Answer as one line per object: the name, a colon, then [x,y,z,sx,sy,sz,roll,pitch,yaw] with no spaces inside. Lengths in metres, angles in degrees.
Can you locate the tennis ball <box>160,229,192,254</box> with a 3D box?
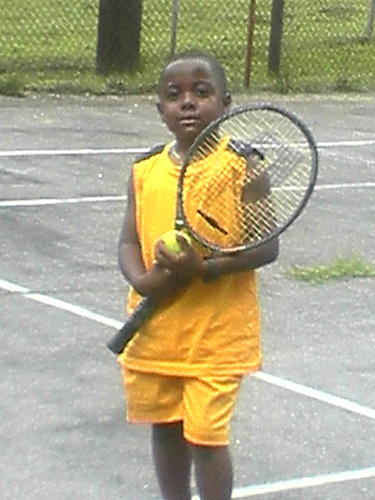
tennis ball: [-0.028,-0.024,2.503,0.069,0.037,0.069,33,17,-11]

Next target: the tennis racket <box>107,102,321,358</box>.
tennis racket: [0.077,0.018,2.797,0.449,1.106,0.085,43,22,18]

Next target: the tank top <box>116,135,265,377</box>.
tank top: [0.010,0.018,2.693,0.480,0.753,0.333,6,10,15]

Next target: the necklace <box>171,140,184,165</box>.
necklace: [-0.031,-0.307,2.733,0.017,0.068,0.051,-4,-17,-29]
